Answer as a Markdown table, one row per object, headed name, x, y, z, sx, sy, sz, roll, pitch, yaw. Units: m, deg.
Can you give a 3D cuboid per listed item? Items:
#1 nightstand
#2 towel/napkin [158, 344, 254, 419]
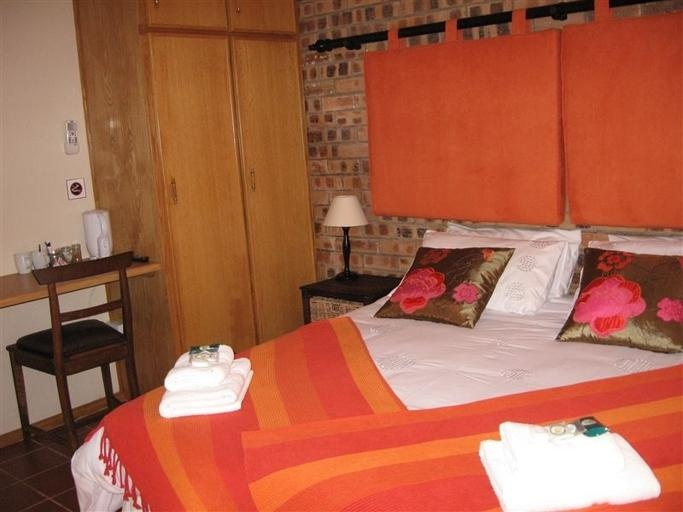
| name | x | y | z | sx | sy | sz | roll | pitch | yaw |
| --- | --- | --- | --- | --- | --- | --- | --- | --- | --- |
| nightstand | 0.045 | 0.237 | 3.468 | 0.492 | 0.414 | 0.485 | 5 | 10 | 36 |
| towel/napkin | -0.549 | 0.483 | 2.013 | 0.246 | 0.095 | 0.308 | 0 | 12 | 1 |
